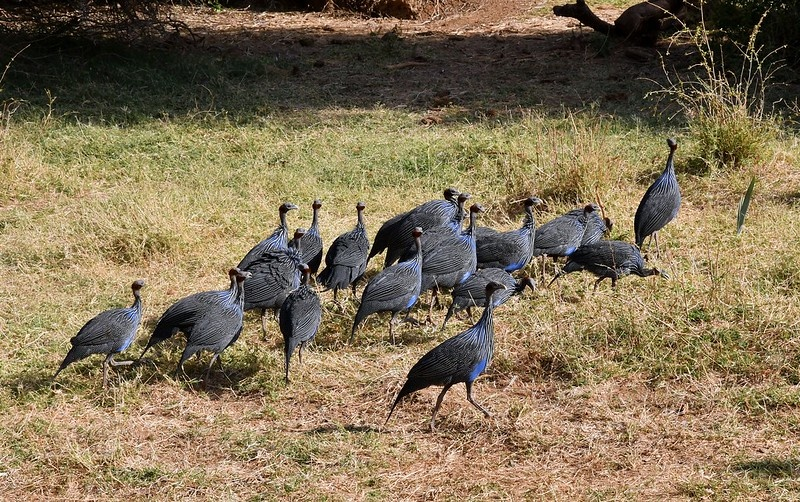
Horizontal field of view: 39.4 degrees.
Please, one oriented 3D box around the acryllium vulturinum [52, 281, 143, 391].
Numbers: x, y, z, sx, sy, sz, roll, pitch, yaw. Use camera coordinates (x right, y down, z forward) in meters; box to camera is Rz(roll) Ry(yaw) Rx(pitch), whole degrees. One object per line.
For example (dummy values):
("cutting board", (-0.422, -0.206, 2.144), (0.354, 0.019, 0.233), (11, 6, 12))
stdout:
("acryllium vulturinum", (-3.985, 1.170, 14.619), (1.383, 1.480, 0.684), (-7, 33, -41))
